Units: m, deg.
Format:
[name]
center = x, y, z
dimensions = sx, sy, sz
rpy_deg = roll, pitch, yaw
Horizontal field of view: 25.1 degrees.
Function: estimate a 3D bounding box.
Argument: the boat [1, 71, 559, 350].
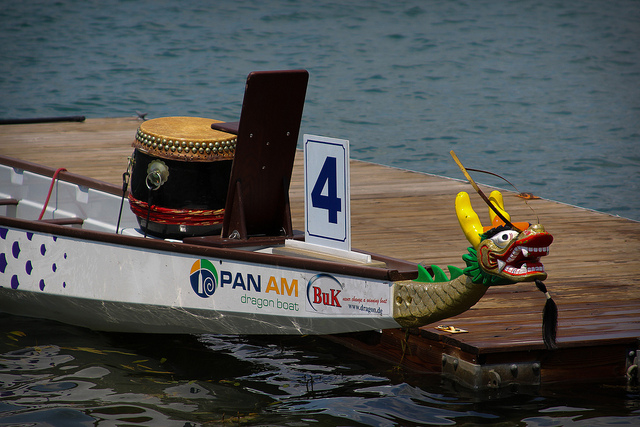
[boat]
center = -0.780, 0.011, 12.875
dimensions = 5.328, 2.615, 1.204
rpy_deg = 13, 19, 25
